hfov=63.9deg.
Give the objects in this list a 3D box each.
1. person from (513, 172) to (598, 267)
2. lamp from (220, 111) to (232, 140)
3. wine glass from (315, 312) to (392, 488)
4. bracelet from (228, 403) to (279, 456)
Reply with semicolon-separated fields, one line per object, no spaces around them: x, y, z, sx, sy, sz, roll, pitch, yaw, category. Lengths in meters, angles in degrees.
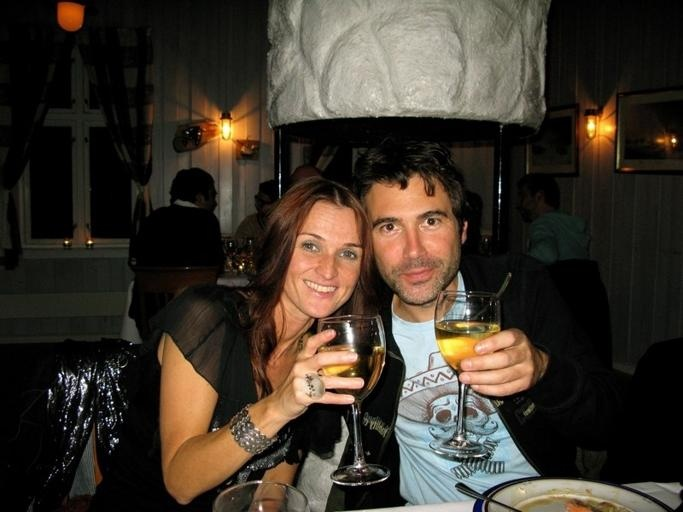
1.942;-0.280;5.142;0.593;0.963;1.214;-7;-2;35;person
-1.462;-1.643;6.990;0.161;0.332;0.195;-1;3;-13;lamp
0.052;0.514;1.836;0.312;0.633;0.190;-3;4;-45;wine glass
-0.307;0.597;1.880;0.131;0.102;0.174;21;3;-6;bracelet
